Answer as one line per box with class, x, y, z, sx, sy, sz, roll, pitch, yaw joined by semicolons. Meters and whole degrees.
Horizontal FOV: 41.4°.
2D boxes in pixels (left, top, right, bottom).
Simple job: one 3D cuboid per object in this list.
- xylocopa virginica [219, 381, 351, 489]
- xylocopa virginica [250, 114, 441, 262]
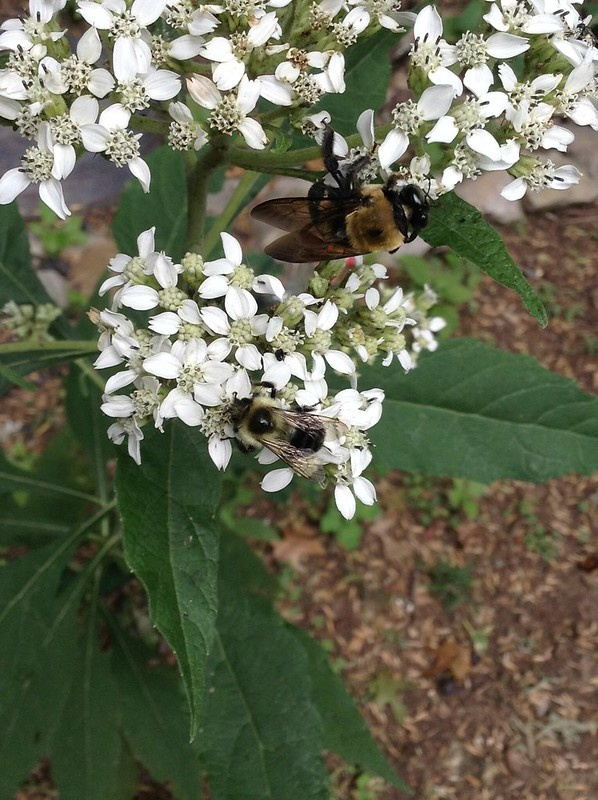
xylocopa virginica;-0.036;0.069;1.877;0.296;0.194;0.093;28;1;-5
xylocopa virginica;0.111;-0.440;1.864;0.521;0.148;0.340;-18;16;3
